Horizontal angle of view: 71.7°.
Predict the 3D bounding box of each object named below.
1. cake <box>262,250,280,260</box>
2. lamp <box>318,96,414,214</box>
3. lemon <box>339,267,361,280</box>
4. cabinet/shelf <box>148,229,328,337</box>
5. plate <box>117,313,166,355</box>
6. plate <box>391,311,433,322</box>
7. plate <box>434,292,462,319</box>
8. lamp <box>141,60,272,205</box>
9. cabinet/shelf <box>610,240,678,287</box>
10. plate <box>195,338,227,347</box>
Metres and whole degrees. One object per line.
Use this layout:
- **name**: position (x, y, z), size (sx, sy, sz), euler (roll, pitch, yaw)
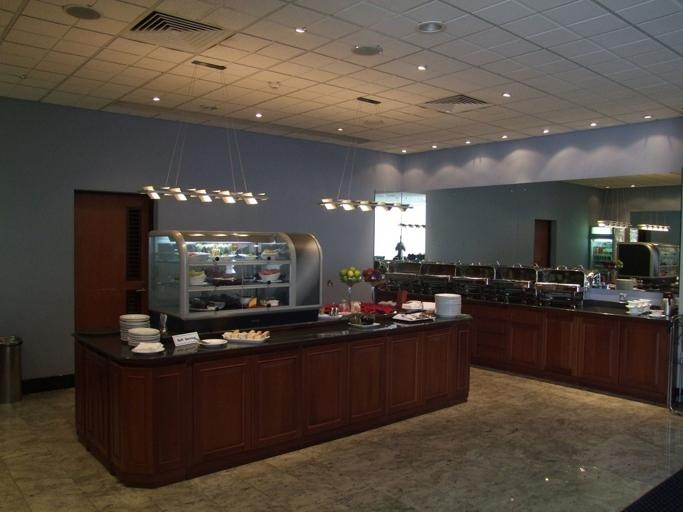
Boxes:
- **cake**: position (-0.928, -0.018, 6.165), size (0.160, 0.054, 0.163), euler (3, -7, -43)
- **lamp**: position (0.311, -1.586, 8.641), size (1.710, 1.609, 4.214), euler (1, 3, 6)
- **lemon**: position (0.104, 0.242, 6.290), size (0.230, 0.100, 0.208), euler (1, 0, -20)
- **cabinet/shelf**: position (-1.438, 0.247, 6.336), size (1.085, 1.080, 2.145), euler (7, 5, 43)
- **plate**: position (-2.052, 0.791, 4.817), size (0.375, 0.119, 0.485), euler (-2, 7, -44)
- **plate**: position (0.981, 0.821, 6.375), size (0.547, 0.071, 0.517), euler (1, 3, 11)
- **plate**: position (1.483, 0.694, 6.641), size (0.375, 0.252, 0.350), euler (-4, -7, 26)
- **lamp**: position (-1.759, -1.577, 6.219), size (2.170, 1.787, 0.529), euler (9, 12, 31)
- **cabinet/shelf**: position (4.829, 0.088, 7.469), size (1.160, 0.654, 0.626), euler (1, -3, -45)
- **plate**: position (-1.310, 0.885, 4.810), size (0.293, 0.051, 0.233), euler (-1, 3, -16)
